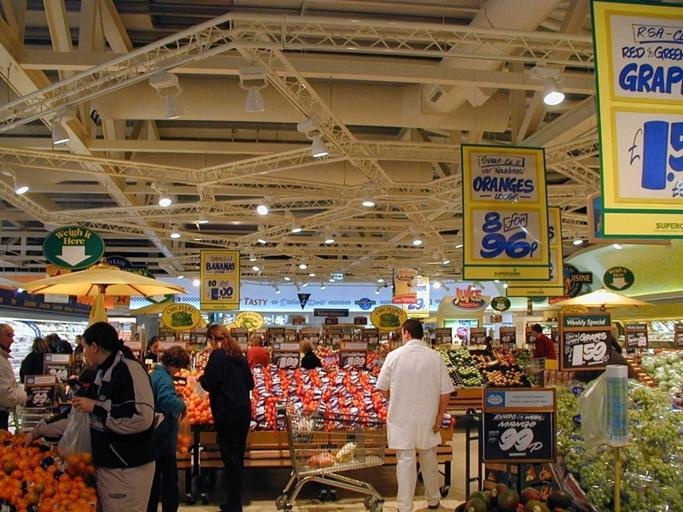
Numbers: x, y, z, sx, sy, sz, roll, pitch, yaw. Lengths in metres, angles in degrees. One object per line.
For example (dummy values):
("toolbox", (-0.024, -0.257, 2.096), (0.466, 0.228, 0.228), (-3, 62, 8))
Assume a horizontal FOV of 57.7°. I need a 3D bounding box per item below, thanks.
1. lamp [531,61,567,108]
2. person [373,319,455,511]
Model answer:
("lamp", (2.523, -2.108, 7.501), (0.318, 0.454, 0.312), (7, 3, 33))
("person", (0.824, 1.774, 6.953), (0.768, 2.161, 0.517), (2, -9, -26))
